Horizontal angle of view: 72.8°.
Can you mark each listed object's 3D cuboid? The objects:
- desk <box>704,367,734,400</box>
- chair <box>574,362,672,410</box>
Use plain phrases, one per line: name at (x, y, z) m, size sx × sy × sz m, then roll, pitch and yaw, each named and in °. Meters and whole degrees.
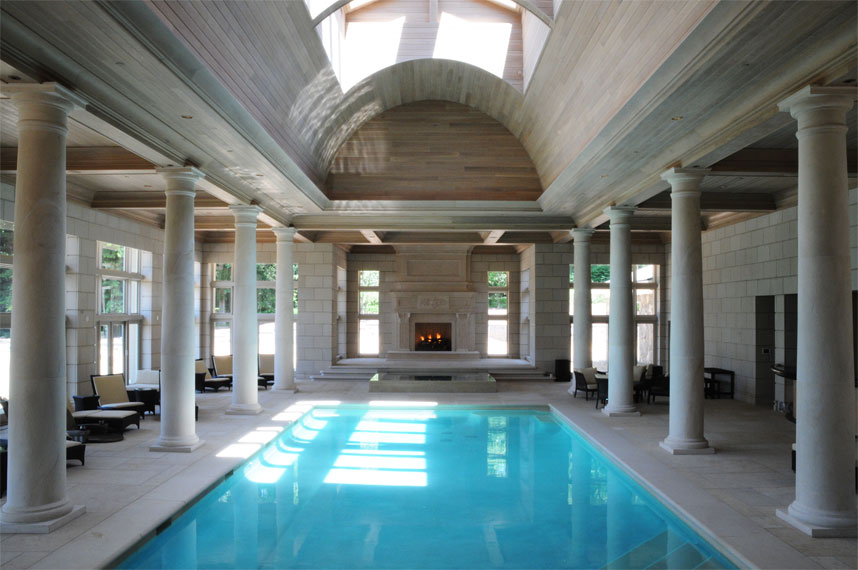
desk at (8.178, 2.783, 16.446) m, size 0.529 × 0.618 × 1.238 m, roll 0°, pitch -5°, yaw 12°
chair at (5.003, 2.706, 15.843) m, size 2.899 × 0.974 × 1.807 m, roll 2°, pitch -6°, yaw -34°
